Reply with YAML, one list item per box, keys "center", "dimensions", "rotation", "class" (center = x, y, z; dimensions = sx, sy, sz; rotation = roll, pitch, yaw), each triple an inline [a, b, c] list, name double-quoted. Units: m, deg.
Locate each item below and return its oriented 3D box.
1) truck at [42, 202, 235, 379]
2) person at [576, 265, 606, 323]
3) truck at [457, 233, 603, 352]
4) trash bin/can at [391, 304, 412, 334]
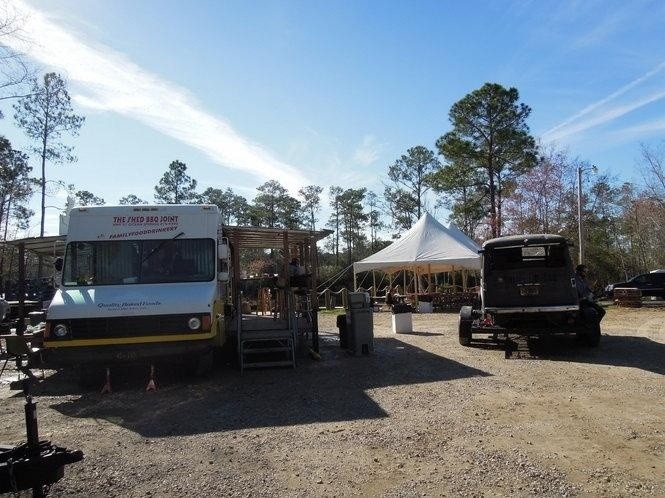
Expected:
- center: [-4.046, 1.153, 11.299]
  dimensions: [2.844, 3.383, 5.763]
  rotation: [-1, -10, -8]
  class: "truck"
- center: [6.627, 1.119, 12.530]
  dimensions: [0.332, 1.014, 0.513]
  rotation: [8, -2, -30]
  class: "person"
- center: [5.316, 0.953, 13.646]
  dimensions: [3.061, 2.746, 5.285]
  rotation: [-3, 1, 19]
  class: "truck"
- center: [2.309, 2.267, 15.651]
  dimensions: [0.675, 0.894, 0.693]
  rotation: [-1, -3, -9]
  class: "trash bin/can"
